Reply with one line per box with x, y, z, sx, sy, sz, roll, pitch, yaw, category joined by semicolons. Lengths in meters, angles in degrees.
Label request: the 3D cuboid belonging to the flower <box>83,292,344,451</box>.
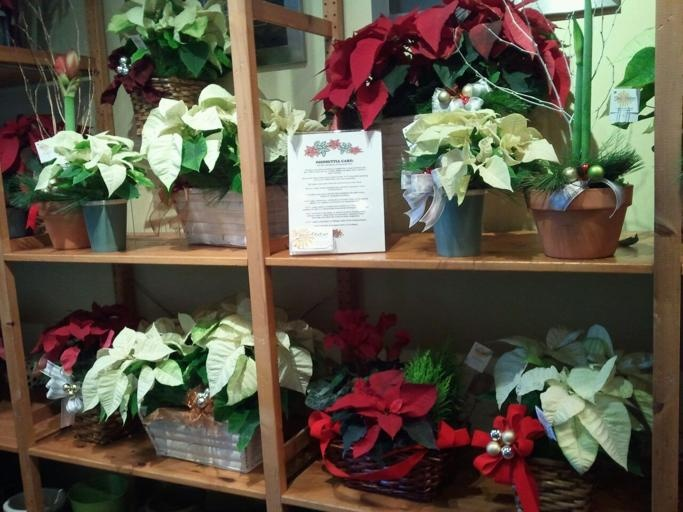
-0.416;0.414;1.708;0.535;0.212;0.492;-18;20;-20;flower

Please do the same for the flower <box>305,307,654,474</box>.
0.347;0.347;1.479;0.704;0.280;0.500;-4;29;14;flower

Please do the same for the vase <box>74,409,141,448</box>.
-0.802;0.568;1.896;0.138;0.080;0.184;0;2;-5;vase

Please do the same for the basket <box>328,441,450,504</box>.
0.127;0.548;1.536;0.235;0.092;0.175;-5;-4;24;basket

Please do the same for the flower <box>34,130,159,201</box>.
-0.749;-0.323;1.671;0.268;0.120;0.265;-14;43;-22;flower

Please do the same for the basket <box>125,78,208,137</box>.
-0.580;-0.489;1.902;0.213;0.148;0.204;0;7;3;basket

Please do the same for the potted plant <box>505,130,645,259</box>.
0.572;-0.148;1.375;0.264;0.257;0.275;1;9;30;potted plant

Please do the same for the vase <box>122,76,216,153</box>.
-0.576;-0.473;1.918;0.239;0.177;0.223;0;10;6;vase

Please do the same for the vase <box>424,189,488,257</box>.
0.291;-0.078;1.367;0.140;0.128;0.149;4;6;35;vase

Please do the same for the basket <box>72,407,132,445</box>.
-0.792;0.552;1.867;0.174;0.105;0.252;0;3;-22;basket

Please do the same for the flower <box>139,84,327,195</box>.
-0.334;-0.345;1.603;0.374;0.170;0.380;15;34;23;flower
